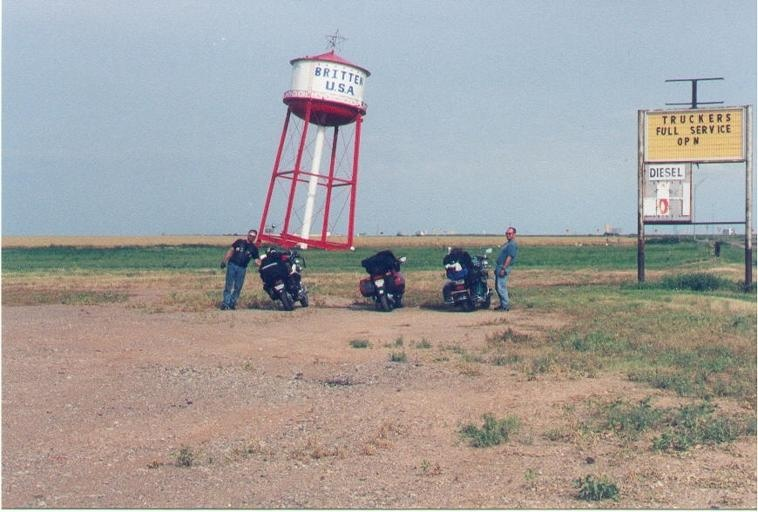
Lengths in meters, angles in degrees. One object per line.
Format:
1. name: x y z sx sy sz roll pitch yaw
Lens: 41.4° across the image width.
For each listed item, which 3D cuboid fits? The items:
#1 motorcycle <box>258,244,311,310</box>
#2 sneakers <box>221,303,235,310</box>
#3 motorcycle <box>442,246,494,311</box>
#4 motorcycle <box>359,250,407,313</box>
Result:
1. motorcycle: -2.969 0.733 31.193 0.798 1.991 1.723 2 7 26
2. sneakers: -4.666 1.571 31.040 0.223 0.102 0.231 -12 -12 -4
3. motorcycle: 2.724 0.731 30.724 1.373 1.971 0.851 -2 6 -6
4. motorcycle: 0.216 0.785 31.235 1.451 1.984 0.853 -6 8 -36
